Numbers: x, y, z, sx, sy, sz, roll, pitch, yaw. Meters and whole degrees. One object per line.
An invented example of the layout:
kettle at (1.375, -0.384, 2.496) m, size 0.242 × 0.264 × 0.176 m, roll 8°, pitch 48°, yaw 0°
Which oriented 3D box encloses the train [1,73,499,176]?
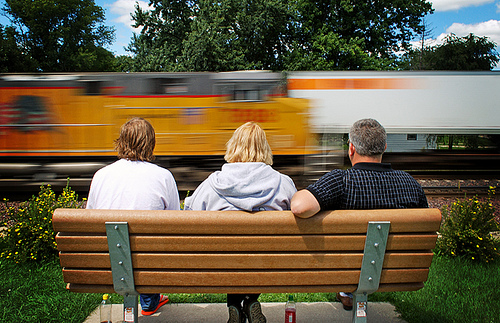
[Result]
train at (-0.701, -1.424, 17.946) m, size 17.604 × 3.734 × 3.614 m, roll 0°, pitch 3°, yaw -1°
